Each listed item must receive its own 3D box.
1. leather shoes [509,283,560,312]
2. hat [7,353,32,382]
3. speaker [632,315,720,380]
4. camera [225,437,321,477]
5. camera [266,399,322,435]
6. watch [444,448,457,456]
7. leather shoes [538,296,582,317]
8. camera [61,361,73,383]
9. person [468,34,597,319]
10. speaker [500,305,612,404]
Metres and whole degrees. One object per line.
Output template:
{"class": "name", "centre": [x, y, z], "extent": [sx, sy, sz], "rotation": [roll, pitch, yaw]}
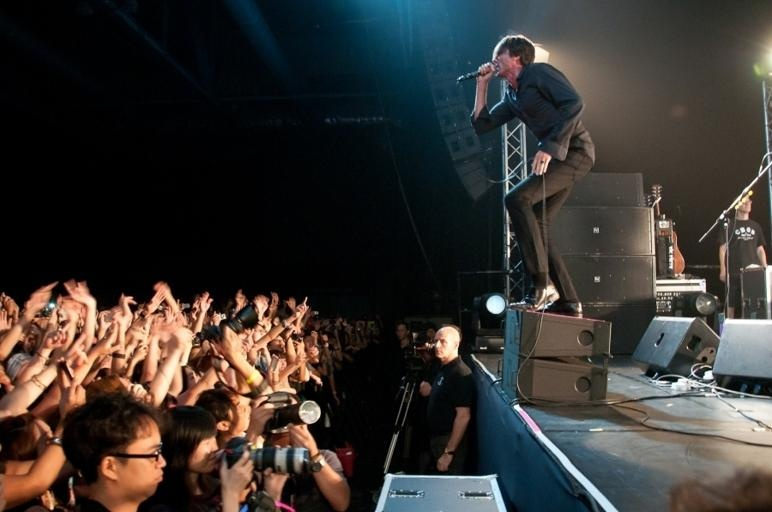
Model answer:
{"class": "leather shoes", "centre": [1.203, 0.344, 4.370], "extent": [0.518, 0.227, 0.172], "rotation": [0, -4, 5]}
{"class": "hat", "centre": [-2.726, 0.832, 3.858], "extent": [0.140, 0.139, 0.142], "rotation": [-27, -28, -11]}
{"class": "speaker", "centre": [2.562, 0.819, 4.726], "extent": [0.616, 0.575, 0.679], "rotation": [1, -11, -5]}
{"class": "camera", "centre": [-0.583, 1.030, 2.714], "extent": [0.332, 0.135, 0.216], "rotation": [3, -11, 6]}
{"class": "camera", "centre": [-0.491, 0.913, 2.940], "extent": [0.313, 0.135, 0.189], "rotation": [-14, 24, 32]}
{"class": "watch", "centre": [0.562, 1.750, 4.645], "extent": [0.066, 0.047, 0.068], "rotation": [5, -2, 9]}
{"class": "leather shoes", "centre": [1.448, 0.424, 4.357], "extent": [0.450, 0.199, 0.159], "rotation": [-6, -9, 42]}
{"class": "camera", "centre": [-1.859, 0.669, 3.029], "extent": [0.031, 0.116, 0.080], "rotation": [-17, 5, -39]}
{"class": "person", "centre": [1.212, -0.804, 4.335], "extent": [0.958, 2.567, 0.657], "rotation": [1, -8, 20]}
{"class": "speaker", "centre": [1.271, 0.722, 4.019], "extent": [0.663, 0.667, 0.680], "rotation": [2, -5, -3]}
